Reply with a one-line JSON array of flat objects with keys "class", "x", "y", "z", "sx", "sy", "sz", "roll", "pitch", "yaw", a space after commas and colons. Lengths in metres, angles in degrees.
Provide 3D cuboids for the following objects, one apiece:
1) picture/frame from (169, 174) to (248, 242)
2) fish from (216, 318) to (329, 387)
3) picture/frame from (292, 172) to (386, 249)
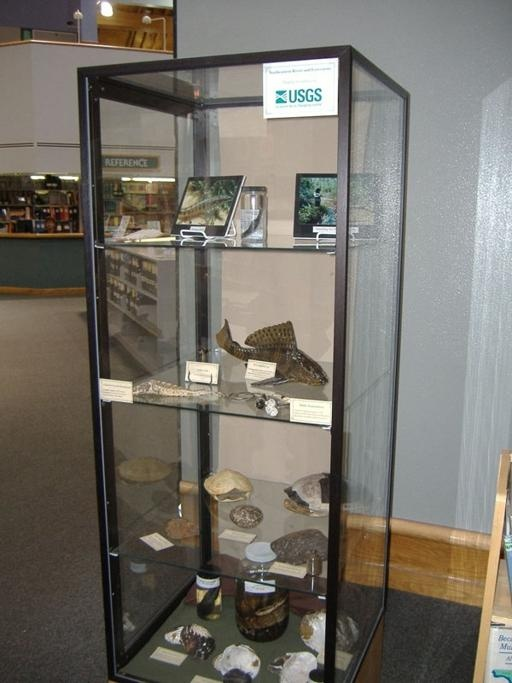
[{"class": "picture/frame", "x": -0.110, "y": -0.317, "z": 1.409, "sx": 0.145, "sy": 0.140, "sz": 0.067, "roll": 11, "pitch": 16, "yaw": 29}, {"class": "fish", "x": 0.041, "y": 0.026, "z": 1.420, "sx": 0.049, "sy": 0.151, "sz": 0.370, "roll": -12, "pitch": 17, "yaw": -42}, {"class": "picture/frame", "x": 0.159, "y": -0.270, "z": 1.204, "sx": 0.192, "sy": 0.186, "sz": 0.106, "roll": 7, "pitch": 12, "yaw": 31}]
